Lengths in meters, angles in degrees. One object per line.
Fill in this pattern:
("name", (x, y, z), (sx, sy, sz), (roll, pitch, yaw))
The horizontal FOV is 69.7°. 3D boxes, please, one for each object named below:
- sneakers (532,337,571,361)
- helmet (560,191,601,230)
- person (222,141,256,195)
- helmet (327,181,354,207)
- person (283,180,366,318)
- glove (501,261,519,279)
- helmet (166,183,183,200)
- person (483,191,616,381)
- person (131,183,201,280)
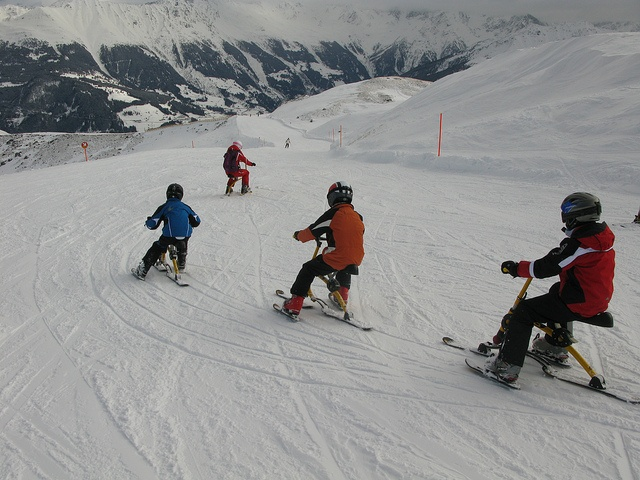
("sneakers", (3.141, 1.489, 6.313), (0.489, 0.193, 0.260), (11, 11, 32))
("helmet", (3.205, -0.321, 5.625), (0.412, 0.403, 0.492), (-8, 3, -44))
("person", (-2.576, -2.270, 14.627), (0.928, 1.594, 1.096), (-6, 26, 0))
("helmet", (0.317, -0.706, 7.118), (0.384, 0.318, 0.414), (1, 5, -10))
("person", (0.069, 0.151, 6.969), (1.347, 1.850, 0.770), (-13, 28, -15))
("glove", (2.472, 0.382, 5.968), (0.151, 0.171, 0.263), (38, 1, -3))
("helmet", (-2.622, -0.866, 8.419), (0.371, 0.291, 0.275), (-1, 13, -15))
("person", (2.864, 0.609, 5.684), (1.310, 2.289, 0.759), (-7, 27, -3))
("person", (-2.781, -0.131, 8.240), (1.229, 1.554, 0.550), (-22, 31, -31))
